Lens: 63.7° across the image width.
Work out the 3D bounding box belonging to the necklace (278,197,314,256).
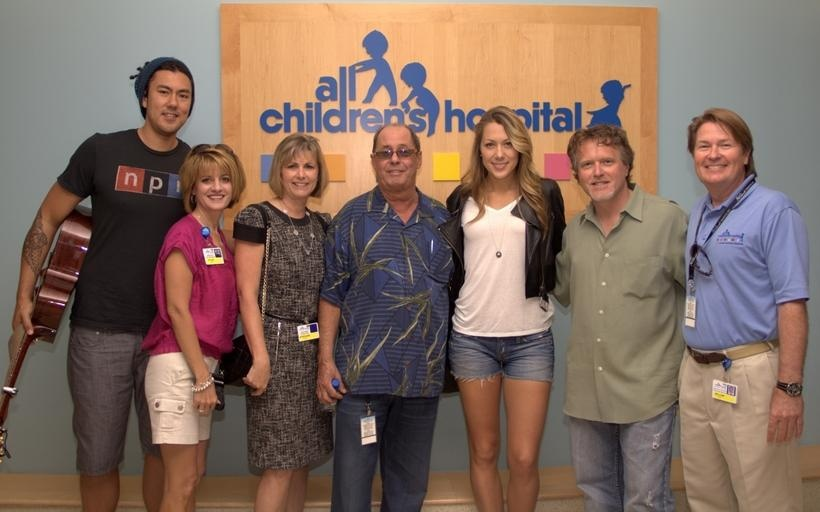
[{"bbox_3d":[-0.702,-0.184,4.107,0.230,0.324,0.075,-6,-18,-36],"label":"necklace"}]

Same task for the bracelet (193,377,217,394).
[{"bbox_3d":[-1.199,0.755,3.862,0.079,0.046,0.104,-11,15,40],"label":"bracelet"}]

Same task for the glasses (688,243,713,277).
[{"bbox_3d":[1.673,0.028,3.799,0.046,0.162,0.130,-9,-1,-39],"label":"glasses"}]

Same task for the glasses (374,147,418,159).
[{"bbox_3d":[-0.087,-0.633,4.080,0.263,0.068,0.074,-1,8,-3],"label":"glasses"}]
